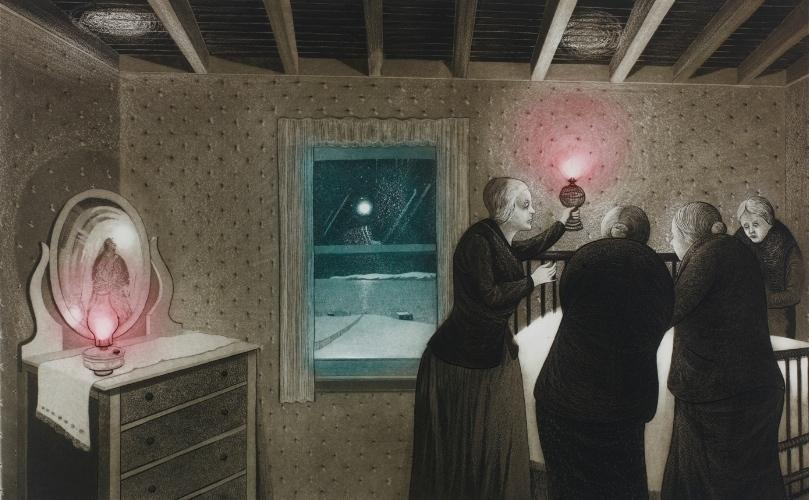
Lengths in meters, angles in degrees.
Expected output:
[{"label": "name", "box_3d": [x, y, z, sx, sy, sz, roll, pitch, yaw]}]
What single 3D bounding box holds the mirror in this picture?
[{"label": "mirror", "box_3d": [-2.425, 0.124, 5.837, 0.254, 1.205, 0.748, 3, 5, 36]}]
